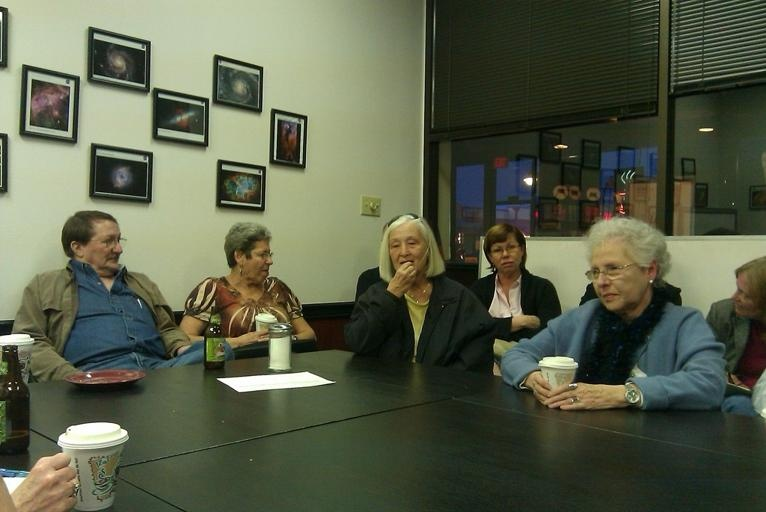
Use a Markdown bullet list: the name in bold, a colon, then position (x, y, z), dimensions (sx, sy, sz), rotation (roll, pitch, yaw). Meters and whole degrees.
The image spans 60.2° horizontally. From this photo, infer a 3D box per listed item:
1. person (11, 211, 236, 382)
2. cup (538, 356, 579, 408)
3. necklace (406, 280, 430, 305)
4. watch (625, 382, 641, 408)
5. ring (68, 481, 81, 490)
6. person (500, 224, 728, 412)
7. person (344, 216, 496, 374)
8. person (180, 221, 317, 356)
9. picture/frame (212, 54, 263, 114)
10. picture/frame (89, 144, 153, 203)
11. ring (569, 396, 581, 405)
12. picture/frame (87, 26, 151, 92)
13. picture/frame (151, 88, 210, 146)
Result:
- **person**: position (-1.453, 0.345, 3.701), dimensions (1.154, 1.166, 1.037), rotation (-1, 1, 0)
- **cup**: position (0.681, 0.487, 2.581), dimensions (0.122, 0.099, 0.126), rotation (-1, -2, 0)
- **necklace**: position (0.189, 0.196, 3.482), dimensions (0.094, 0.121, 0.050), rotation (2, 3, -12)
- **watch**: position (0.947, 0.532, 2.505), dimensions (0.081, 0.075, 0.021), rotation (-4, -13, -38)
- **ring**: position (-0.895, 0.670, 1.918), dimensions (0.022, 0.025, 0.028), rotation (6, -21, -42)
- **person**: position (0.992, 0.352, 2.856), dimensions (0.970, 0.989, 0.686), rotation (1, -2, 42)
- **person**: position (0.198, 0.264, 3.498), dimensions (0.738, 0.960, 0.512), rotation (-5, -2, 15)
- **person**: position (-0.826, 0.205, 4.238), dimensions (0.630, 0.814, 0.989), rotation (4, 0, 41)
- **picture/frame**: position (-1.008, -1.176, 4.504), dimensions (0.045, 0.392, 0.462), rotation (-5, -4, 45)
- **picture/frame**: position (-1.611, -0.497, 4.016), dimensions (0.386, 0.329, 0.037), rotation (0, 1, -39)
- **ring**: position (0.724, 0.553, 2.511), dimensions (0.025, 0.022, 0.022), rotation (5, -9, -19)
- **picture/frame**: position (-1.618, -1.196, 4.007), dimensions (0.461, 0.387, 0.049), rotation (1, -4, -40)
- **picture/frame**: position (-1.319, -0.894, 4.247), dimensions (0.419, 0.342, 0.040), rotation (2, -3, -42)
